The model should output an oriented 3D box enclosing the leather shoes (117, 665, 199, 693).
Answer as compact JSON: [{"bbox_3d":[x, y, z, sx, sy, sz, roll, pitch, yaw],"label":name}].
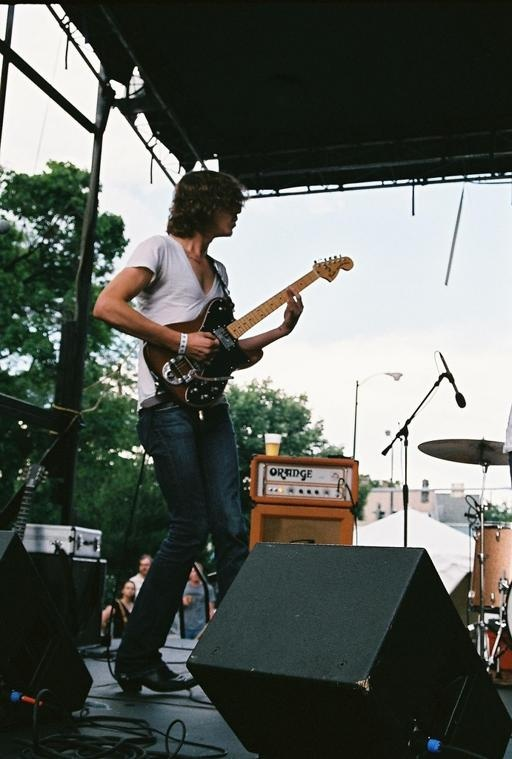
[{"bbox_3d":[-0.300,0.893,2.739,0.242,0.094,0.094,-3,-16,-14],"label":"leather shoes"}]

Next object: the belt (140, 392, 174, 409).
[{"bbox_3d":[-0.325,0.071,2.949,0.081,0.025,0.057,-16,-20,19],"label":"belt"}]

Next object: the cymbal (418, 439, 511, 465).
[{"bbox_3d":[1.582,0.548,6.969,0.658,0.205,0.899,6,-3,14],"label":"cymbal"}]

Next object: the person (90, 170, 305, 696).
[{"bbox_3d":[-0.198,0.130,3.092,0.502,1.753,0.820,-10,-12,41],"label":"person"}]

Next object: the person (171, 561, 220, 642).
[{"bbox_3d":[-0.526,1.929,7.653,0.365,1.279,0.185,0,37,-2],"label":"person"}]
